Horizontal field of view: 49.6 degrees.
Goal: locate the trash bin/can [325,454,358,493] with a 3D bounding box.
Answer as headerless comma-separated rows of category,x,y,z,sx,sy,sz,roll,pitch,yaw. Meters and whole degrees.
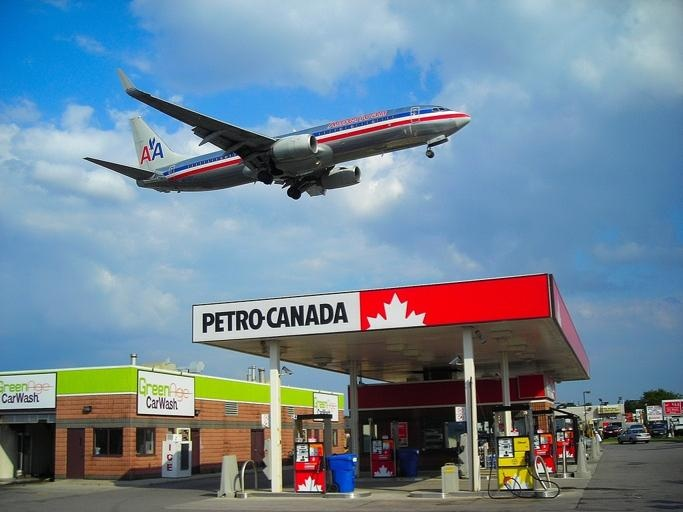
trash bin/can,0.131,7.780,26.468,1.301,1.524,1.219,-6,-11,16

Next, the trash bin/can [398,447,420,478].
trash bin/can,2.897,9.206,32.760,1.167,1.388,1.106,1,-14,-1

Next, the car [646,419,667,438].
car,32.684,18.044,76.465,1.499,1.106,3.137,-1,-10,15

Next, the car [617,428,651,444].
car,25.072,15.660,63.560,1.266,0.868,2.713,0,-5,-14
